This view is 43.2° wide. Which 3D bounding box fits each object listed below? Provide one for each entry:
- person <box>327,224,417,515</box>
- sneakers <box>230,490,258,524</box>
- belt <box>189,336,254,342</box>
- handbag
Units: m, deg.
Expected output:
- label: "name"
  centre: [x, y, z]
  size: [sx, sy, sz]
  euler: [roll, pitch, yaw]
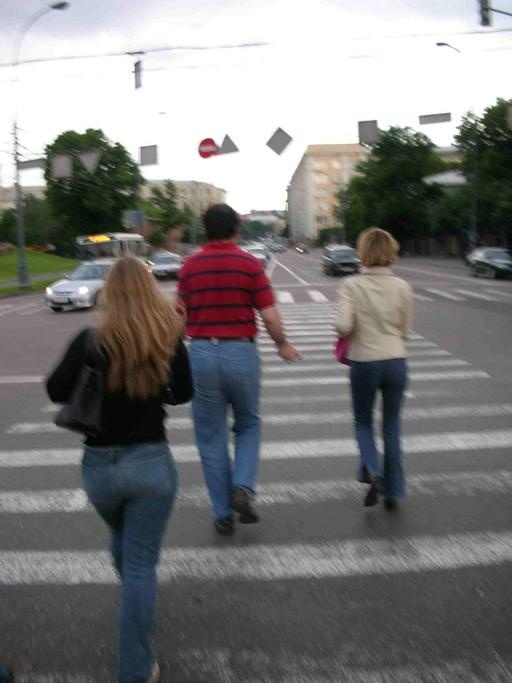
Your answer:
- label: "person"
  centre: [0.704, 0.140, 3.882]
  size: [0.446, 1.654, 0.595]
  euler: [0, 6, 9]
- label: "sneakers"
  centre: [-0.058, 0.834, 3.360]
  size: [0.111, 0.183, 0.124]
  euler: [-28, -3, 7]
- label: "belt"
  centre: [-0.189, -0.013, 3.395]
  size: [0.342, 0.035, 0.144]
  euler: [-1, 7, 4]
- label: "handbag"
  centre: [-0.568, 0.129, 2.085]
  size: [0.160, 0.325, 0.125]
  euler: [-4, 7, -21]
